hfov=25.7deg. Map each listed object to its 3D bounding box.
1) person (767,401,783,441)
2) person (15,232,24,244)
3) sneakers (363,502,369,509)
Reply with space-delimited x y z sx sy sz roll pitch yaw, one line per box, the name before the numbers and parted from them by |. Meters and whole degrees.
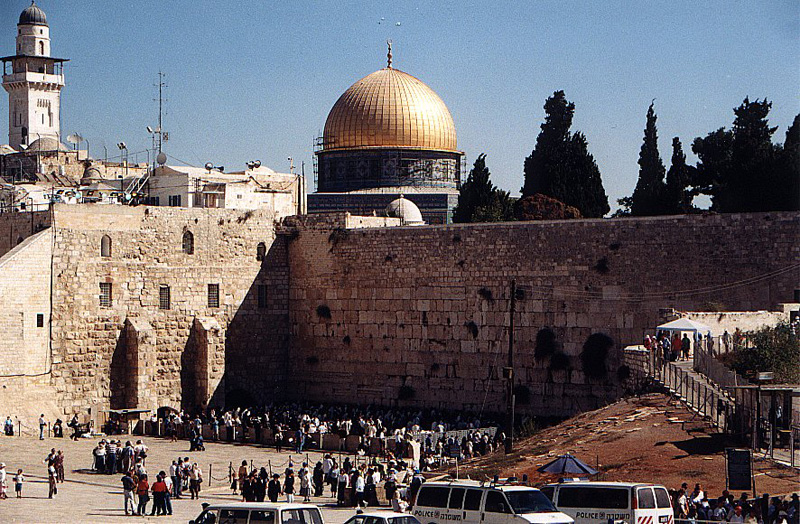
person | 13.339 5.562 62.512 0.594 1.395 1.897 -1 8 14
person | -17.280 -1.176 79.703 0.214 0.430 0.778 -7 9 -30
sneakers | -1.251 8.777 63.563 0.157 0.237 0.198 4 7 5
